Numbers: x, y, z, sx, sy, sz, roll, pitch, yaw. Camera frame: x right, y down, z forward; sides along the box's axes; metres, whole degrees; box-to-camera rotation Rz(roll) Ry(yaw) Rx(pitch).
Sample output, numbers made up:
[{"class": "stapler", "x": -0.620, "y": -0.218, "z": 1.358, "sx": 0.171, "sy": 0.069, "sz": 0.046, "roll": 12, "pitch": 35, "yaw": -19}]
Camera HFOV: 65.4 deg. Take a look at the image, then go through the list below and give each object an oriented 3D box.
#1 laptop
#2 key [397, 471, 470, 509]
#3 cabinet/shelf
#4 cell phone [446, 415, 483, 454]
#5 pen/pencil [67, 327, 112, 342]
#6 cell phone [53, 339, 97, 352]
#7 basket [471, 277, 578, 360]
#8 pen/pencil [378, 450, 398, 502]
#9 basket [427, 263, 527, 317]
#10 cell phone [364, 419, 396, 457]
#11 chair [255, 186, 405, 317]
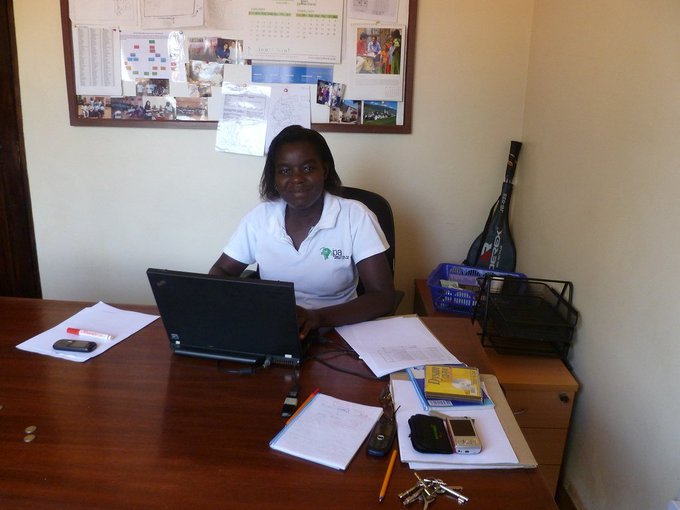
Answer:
[{"class": "laptop", "x": -0.354, "y": 0.202, "z": 1.684, "sx": 0.409, "sy": 0.315, "sz": 0.352, "roll": 4, "pitch": 31, "yaw": 7}, {"class": "key", "x": 0.237, "y": 0.604, "z": 1.331, "sx": 0.170, "sy": 0.034, "sz": 0.089, "roll": 9, "pitch": 18, "yaw": 18}, {"class": "cabinet/shelf", "x": 0.526, "y": 0.435, "z": 2.256, "sx": 0.511, "sy": 0.867, "sz": 0.925, "roll": -3, "pitch": 30, "yaw": 0}, {"class": "cell phone", "x": 0.339, "y": 0.495, "z": 1.455, "sx": 0.081, "sy": 0.048, "sz": 0.102, "roll": 2, "pitch": 17, "yaw": -4}, {"class": "pen/pencil", "x": -0.891, "y": 0.283, "z": 1.873, "sx": 0.137, "sy": 0.025, "sz": 0.022, "roll": 8, "pitch": 0, "yaw": 15}, {"class": "cell phone", "x": -0.900, "y": 0.308, "z": 1.798, "sx": 0.107, "sy": 0.021, "sz": 0.056, "roll": 4, "pitch": 23, "yaw": -2}, {"class": "basket", "x": 0.833, "y": 0.231, "z": 2.371, "sx": 0.322, "sy": 0.269, "sz": 0.414, "roll": 3, "pitch": 28, "yaw": 7}, {"class": "pen/pencil", "x": 0.127, "y": 0.568, "z": 1.378, "sx": 0.022, "sy": 0.023, "sz": 0.217, "roll": 5, "pitch": 22, "yaw": 15}, {"class": "basket", "x": 0.635, "y": 0.183, "z": 2.603, "sx": 0.386, "sy": 0.127, "sz": 0.261, "roll": 7, "pitch": 25, "yaw": 24}, {"class": "cell phone", "x": 0.115, "y": 0.503, "z": 1.460, "sx": 0.057, "sy": 0.053, "sz": 0.108, "roll": 9, "pitch": 18, "yaw": 18}, {"class": "chair", "x": -0.083, "y": -0.063, "z": 2.681, "sx": 0.598, "sy": 0.911, "sz": 0.627, "roll": 2, "pitch": 19, "yaw": 11}]
